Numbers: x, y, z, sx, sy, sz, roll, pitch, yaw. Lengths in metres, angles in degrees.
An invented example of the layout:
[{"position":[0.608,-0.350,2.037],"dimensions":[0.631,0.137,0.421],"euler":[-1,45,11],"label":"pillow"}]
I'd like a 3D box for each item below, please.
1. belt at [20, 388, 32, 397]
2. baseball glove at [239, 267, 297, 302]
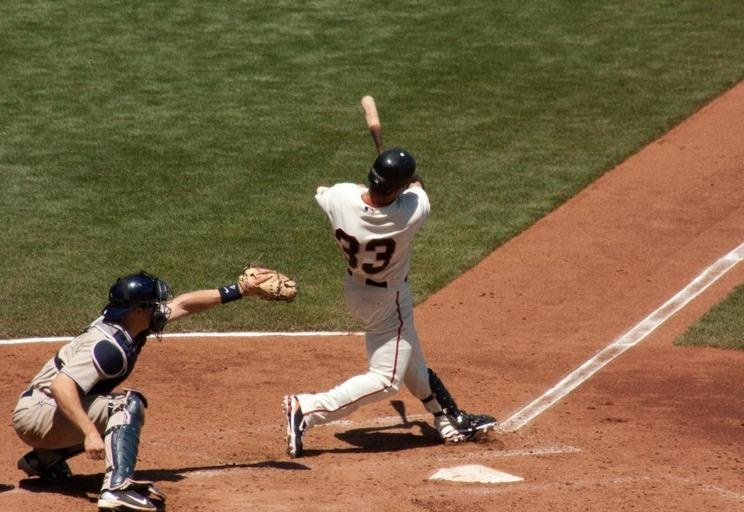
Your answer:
[{"position":[-3.462,1.381,12.671],"dimensions":[0.124,0.089,0.075],"euler":[-1,-8,-23],"label":"belt"},{"position":[-1.105,0.294,13.188],"dimensions":[0.715,0.249,0.503],"euler":[4,-1,17],"label":"baseball glove"}]
